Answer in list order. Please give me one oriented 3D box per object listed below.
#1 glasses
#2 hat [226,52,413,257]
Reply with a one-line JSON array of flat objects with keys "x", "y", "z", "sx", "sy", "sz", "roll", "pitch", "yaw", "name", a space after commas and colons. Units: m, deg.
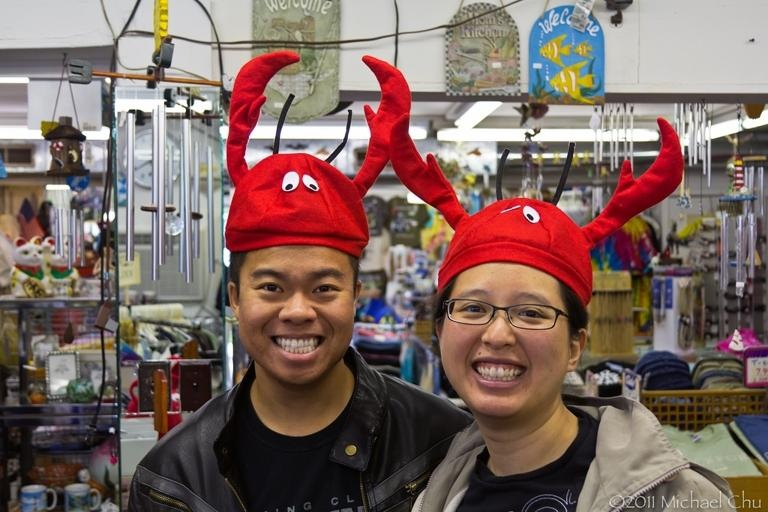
[{"x": 0.650, "y": 0.321, "z": 6.699, "sx": 0.642, "sy": 0.188, "sz": 0.123, "roll": -2, "pitch": -2, "yaw": 10, "name": "glasses"}, {"x": -0.483, "y": -0.720, "z": 7.984, "sx": 0.952, "sy": 1.384, "sz": 0.727, "roll": 6, "pitch": -12, "yaw": -7, "name": "hat"}]
